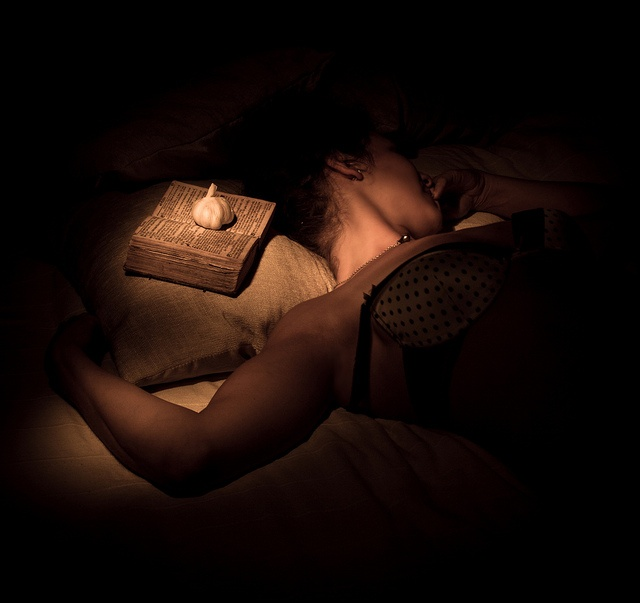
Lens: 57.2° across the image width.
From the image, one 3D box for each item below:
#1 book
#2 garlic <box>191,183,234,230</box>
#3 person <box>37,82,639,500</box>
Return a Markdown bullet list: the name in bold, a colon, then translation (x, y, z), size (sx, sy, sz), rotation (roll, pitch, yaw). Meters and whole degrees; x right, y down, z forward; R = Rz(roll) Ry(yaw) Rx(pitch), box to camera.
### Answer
- **book**: translation (-0.257, -0.124, 1.245), size (0.255, 0.070, 0.264), rotation (12, 51, 4)
- **garlic**: translation (-0.237, -0.214, 1.287), size (0.093, 0.096, 0.088), rotation (19, 33, 33)
- **person**: translation (0.090, -0.084, 1.235), size (1.239, 0.620, 0.731), rotation (-1, 18, -4)
